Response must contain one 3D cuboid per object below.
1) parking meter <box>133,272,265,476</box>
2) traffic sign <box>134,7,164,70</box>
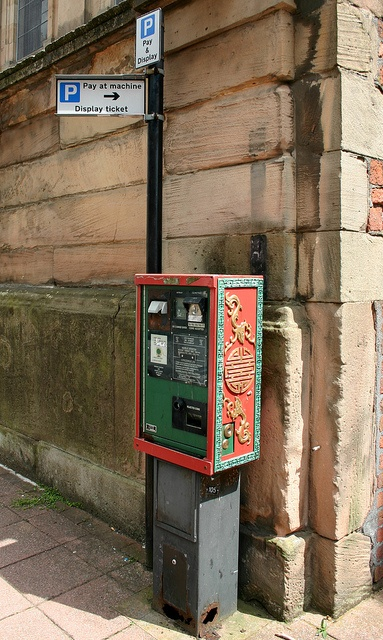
[{"bbox_3d":[0.008,0.228,2.581,0.618,0.880,0.426,1,2,6],"label":"parking meter"},{"bbox_3d":[-0.240,-1.533,3.054,0.036,0.295,0.228,-1,3,-42],"label":"traffic sign"}]
